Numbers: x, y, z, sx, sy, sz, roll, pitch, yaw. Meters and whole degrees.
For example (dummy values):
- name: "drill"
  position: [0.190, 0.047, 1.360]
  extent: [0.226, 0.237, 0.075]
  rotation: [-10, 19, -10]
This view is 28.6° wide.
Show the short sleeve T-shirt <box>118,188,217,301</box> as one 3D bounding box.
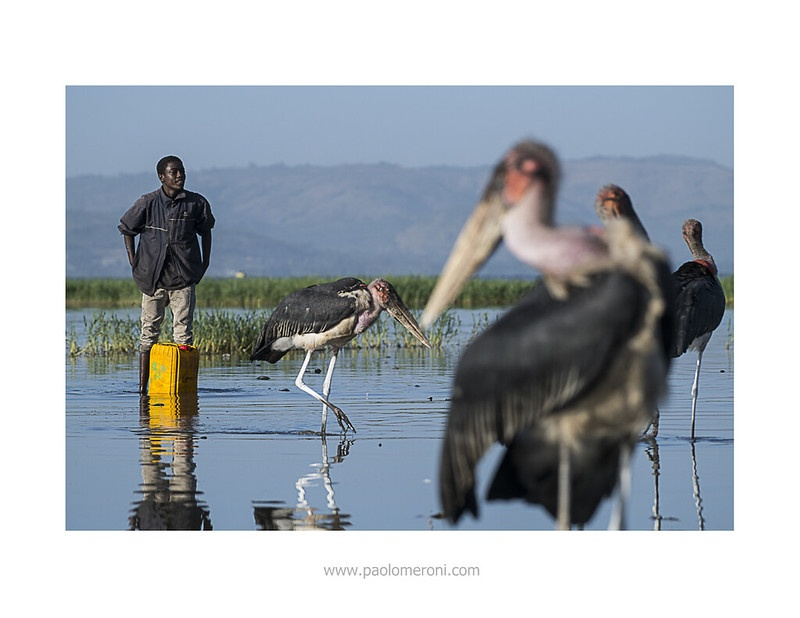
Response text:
- name: "short sleeve T-shirt"
  position: [-2.511, -0.711, 17.123]
  extent: [1.251, 1.320, 0.592]
  rotation: [0, 4, -7]

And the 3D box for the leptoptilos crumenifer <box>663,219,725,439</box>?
- name: "leptoptilos crumenifer"
  position: [3.074, 0.162, 16.138]
  extent: [0.507, 2.205, 1.426]
  rotation: [-1, 1, 11]

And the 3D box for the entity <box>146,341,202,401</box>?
- name: "entity"
  position: [-2.614, 0.713, 18.064]
  extent: [0.391, 0.593, 0.395]
  rotation: [2, -3, 19]
